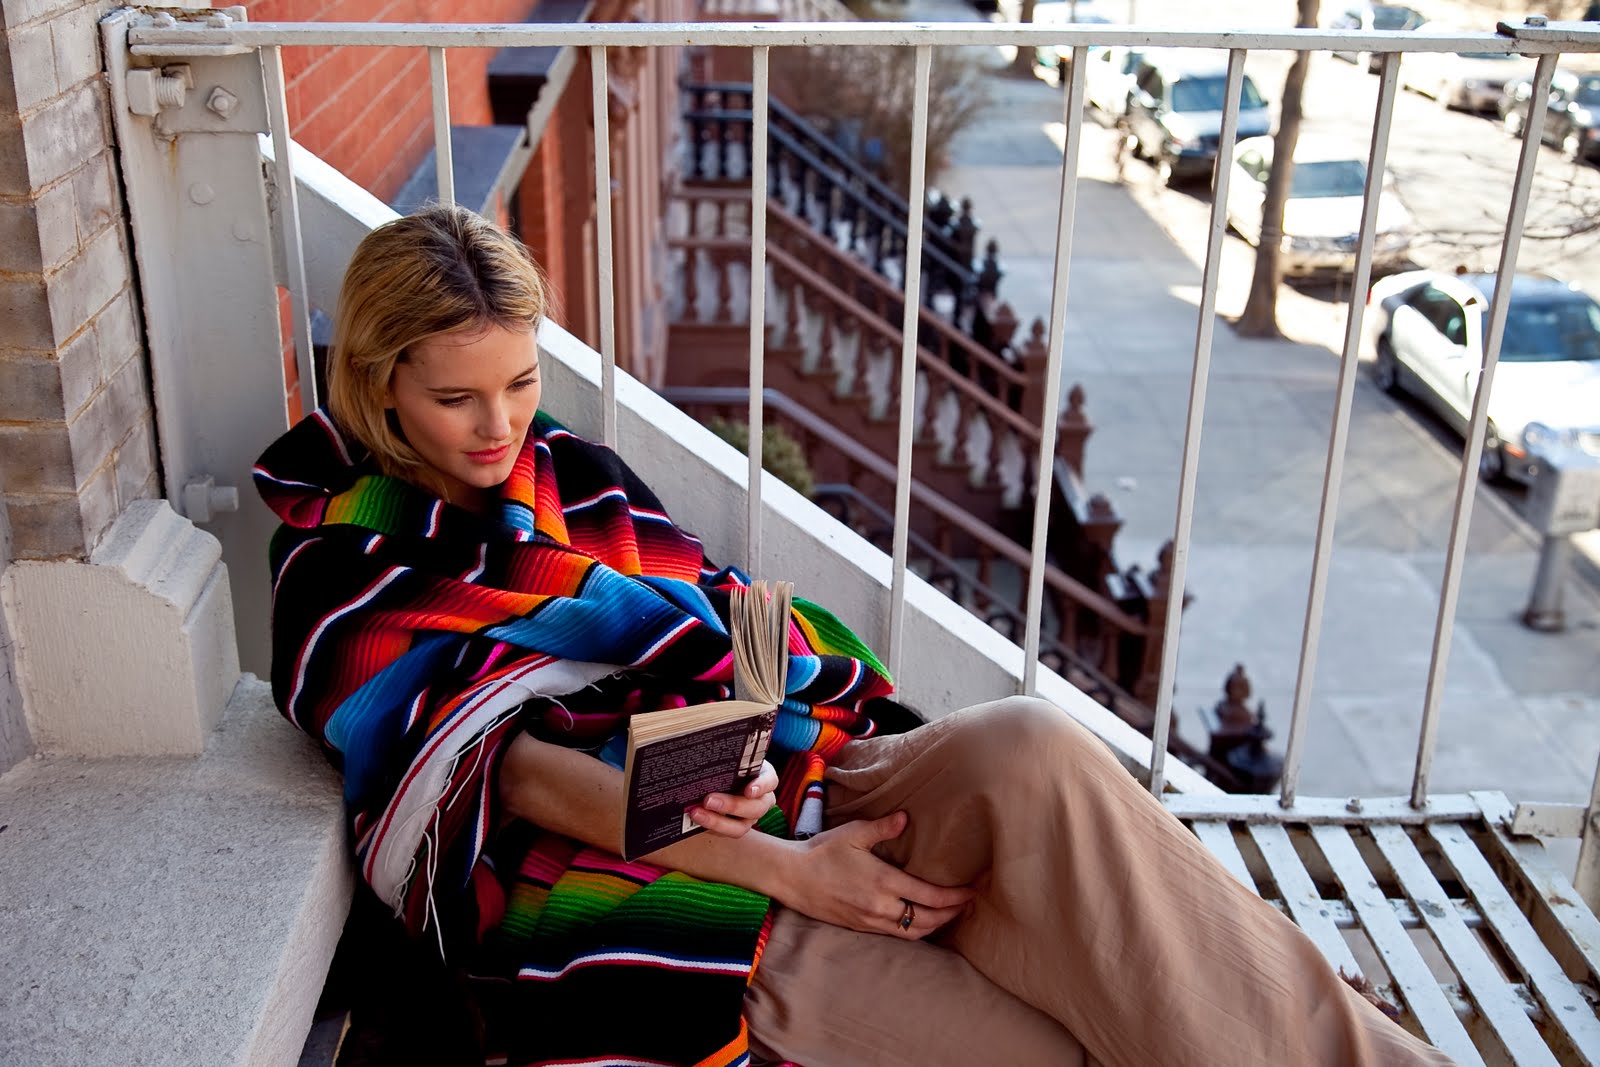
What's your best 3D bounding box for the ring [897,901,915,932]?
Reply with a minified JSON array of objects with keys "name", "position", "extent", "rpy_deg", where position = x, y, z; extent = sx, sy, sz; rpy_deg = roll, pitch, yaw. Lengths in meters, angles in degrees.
[{"name":"ring","position":[0.188,0.674,2.541],"extent":[0.030,0.054,0.014],"rpy_deg":[5,23,5]}]
